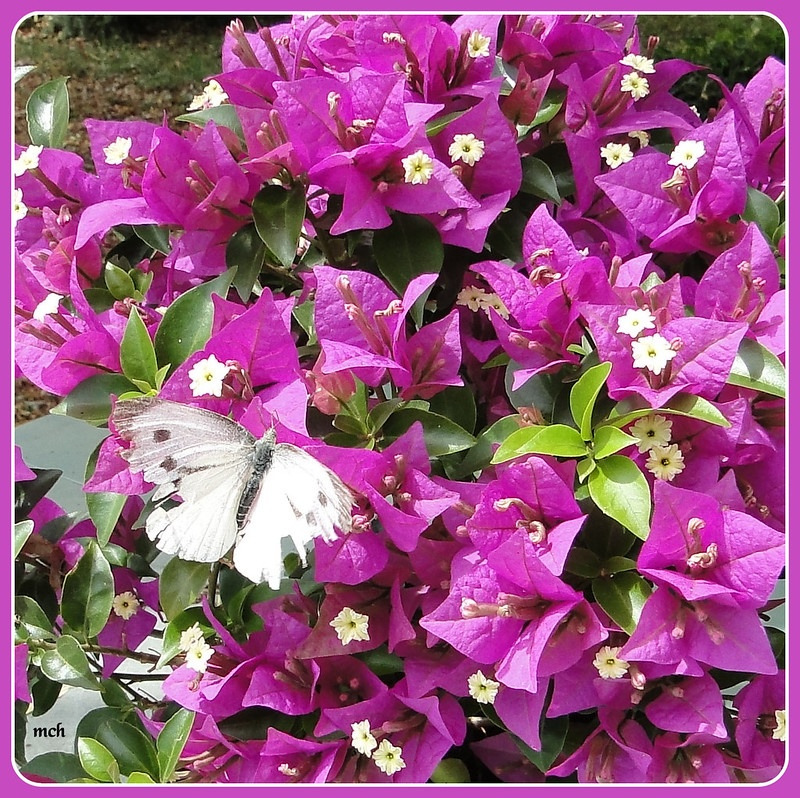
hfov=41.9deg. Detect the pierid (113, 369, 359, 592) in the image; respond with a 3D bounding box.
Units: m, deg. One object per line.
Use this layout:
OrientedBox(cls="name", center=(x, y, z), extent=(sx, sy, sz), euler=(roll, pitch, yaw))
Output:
OrientedBox(cls="pierid", center=(-0.172, 0.104, 1.121), extent=(0.277, 0.192, 0.156), euler=(22, 71, 10))
